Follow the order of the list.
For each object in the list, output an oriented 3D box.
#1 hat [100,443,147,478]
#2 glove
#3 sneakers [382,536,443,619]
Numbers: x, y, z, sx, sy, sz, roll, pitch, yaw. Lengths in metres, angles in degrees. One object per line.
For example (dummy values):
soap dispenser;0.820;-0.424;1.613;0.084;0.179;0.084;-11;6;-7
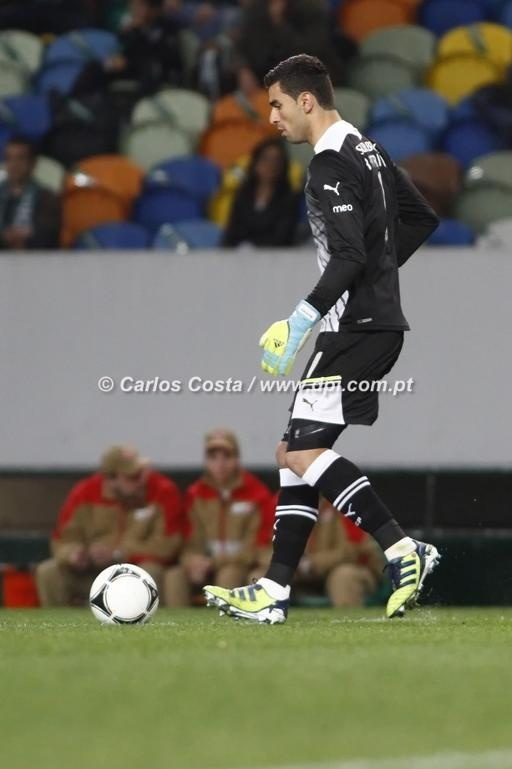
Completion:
hat;-0.681;0.399;5.392;0.208;0.161;0.136;15;48;5
glove;0.130;-0.141;3.174;0.113;0.234;0.168;11;40;-40
sneakers;0.435;0.553;3.139;0.166;0.102;0.254;20;83;0
